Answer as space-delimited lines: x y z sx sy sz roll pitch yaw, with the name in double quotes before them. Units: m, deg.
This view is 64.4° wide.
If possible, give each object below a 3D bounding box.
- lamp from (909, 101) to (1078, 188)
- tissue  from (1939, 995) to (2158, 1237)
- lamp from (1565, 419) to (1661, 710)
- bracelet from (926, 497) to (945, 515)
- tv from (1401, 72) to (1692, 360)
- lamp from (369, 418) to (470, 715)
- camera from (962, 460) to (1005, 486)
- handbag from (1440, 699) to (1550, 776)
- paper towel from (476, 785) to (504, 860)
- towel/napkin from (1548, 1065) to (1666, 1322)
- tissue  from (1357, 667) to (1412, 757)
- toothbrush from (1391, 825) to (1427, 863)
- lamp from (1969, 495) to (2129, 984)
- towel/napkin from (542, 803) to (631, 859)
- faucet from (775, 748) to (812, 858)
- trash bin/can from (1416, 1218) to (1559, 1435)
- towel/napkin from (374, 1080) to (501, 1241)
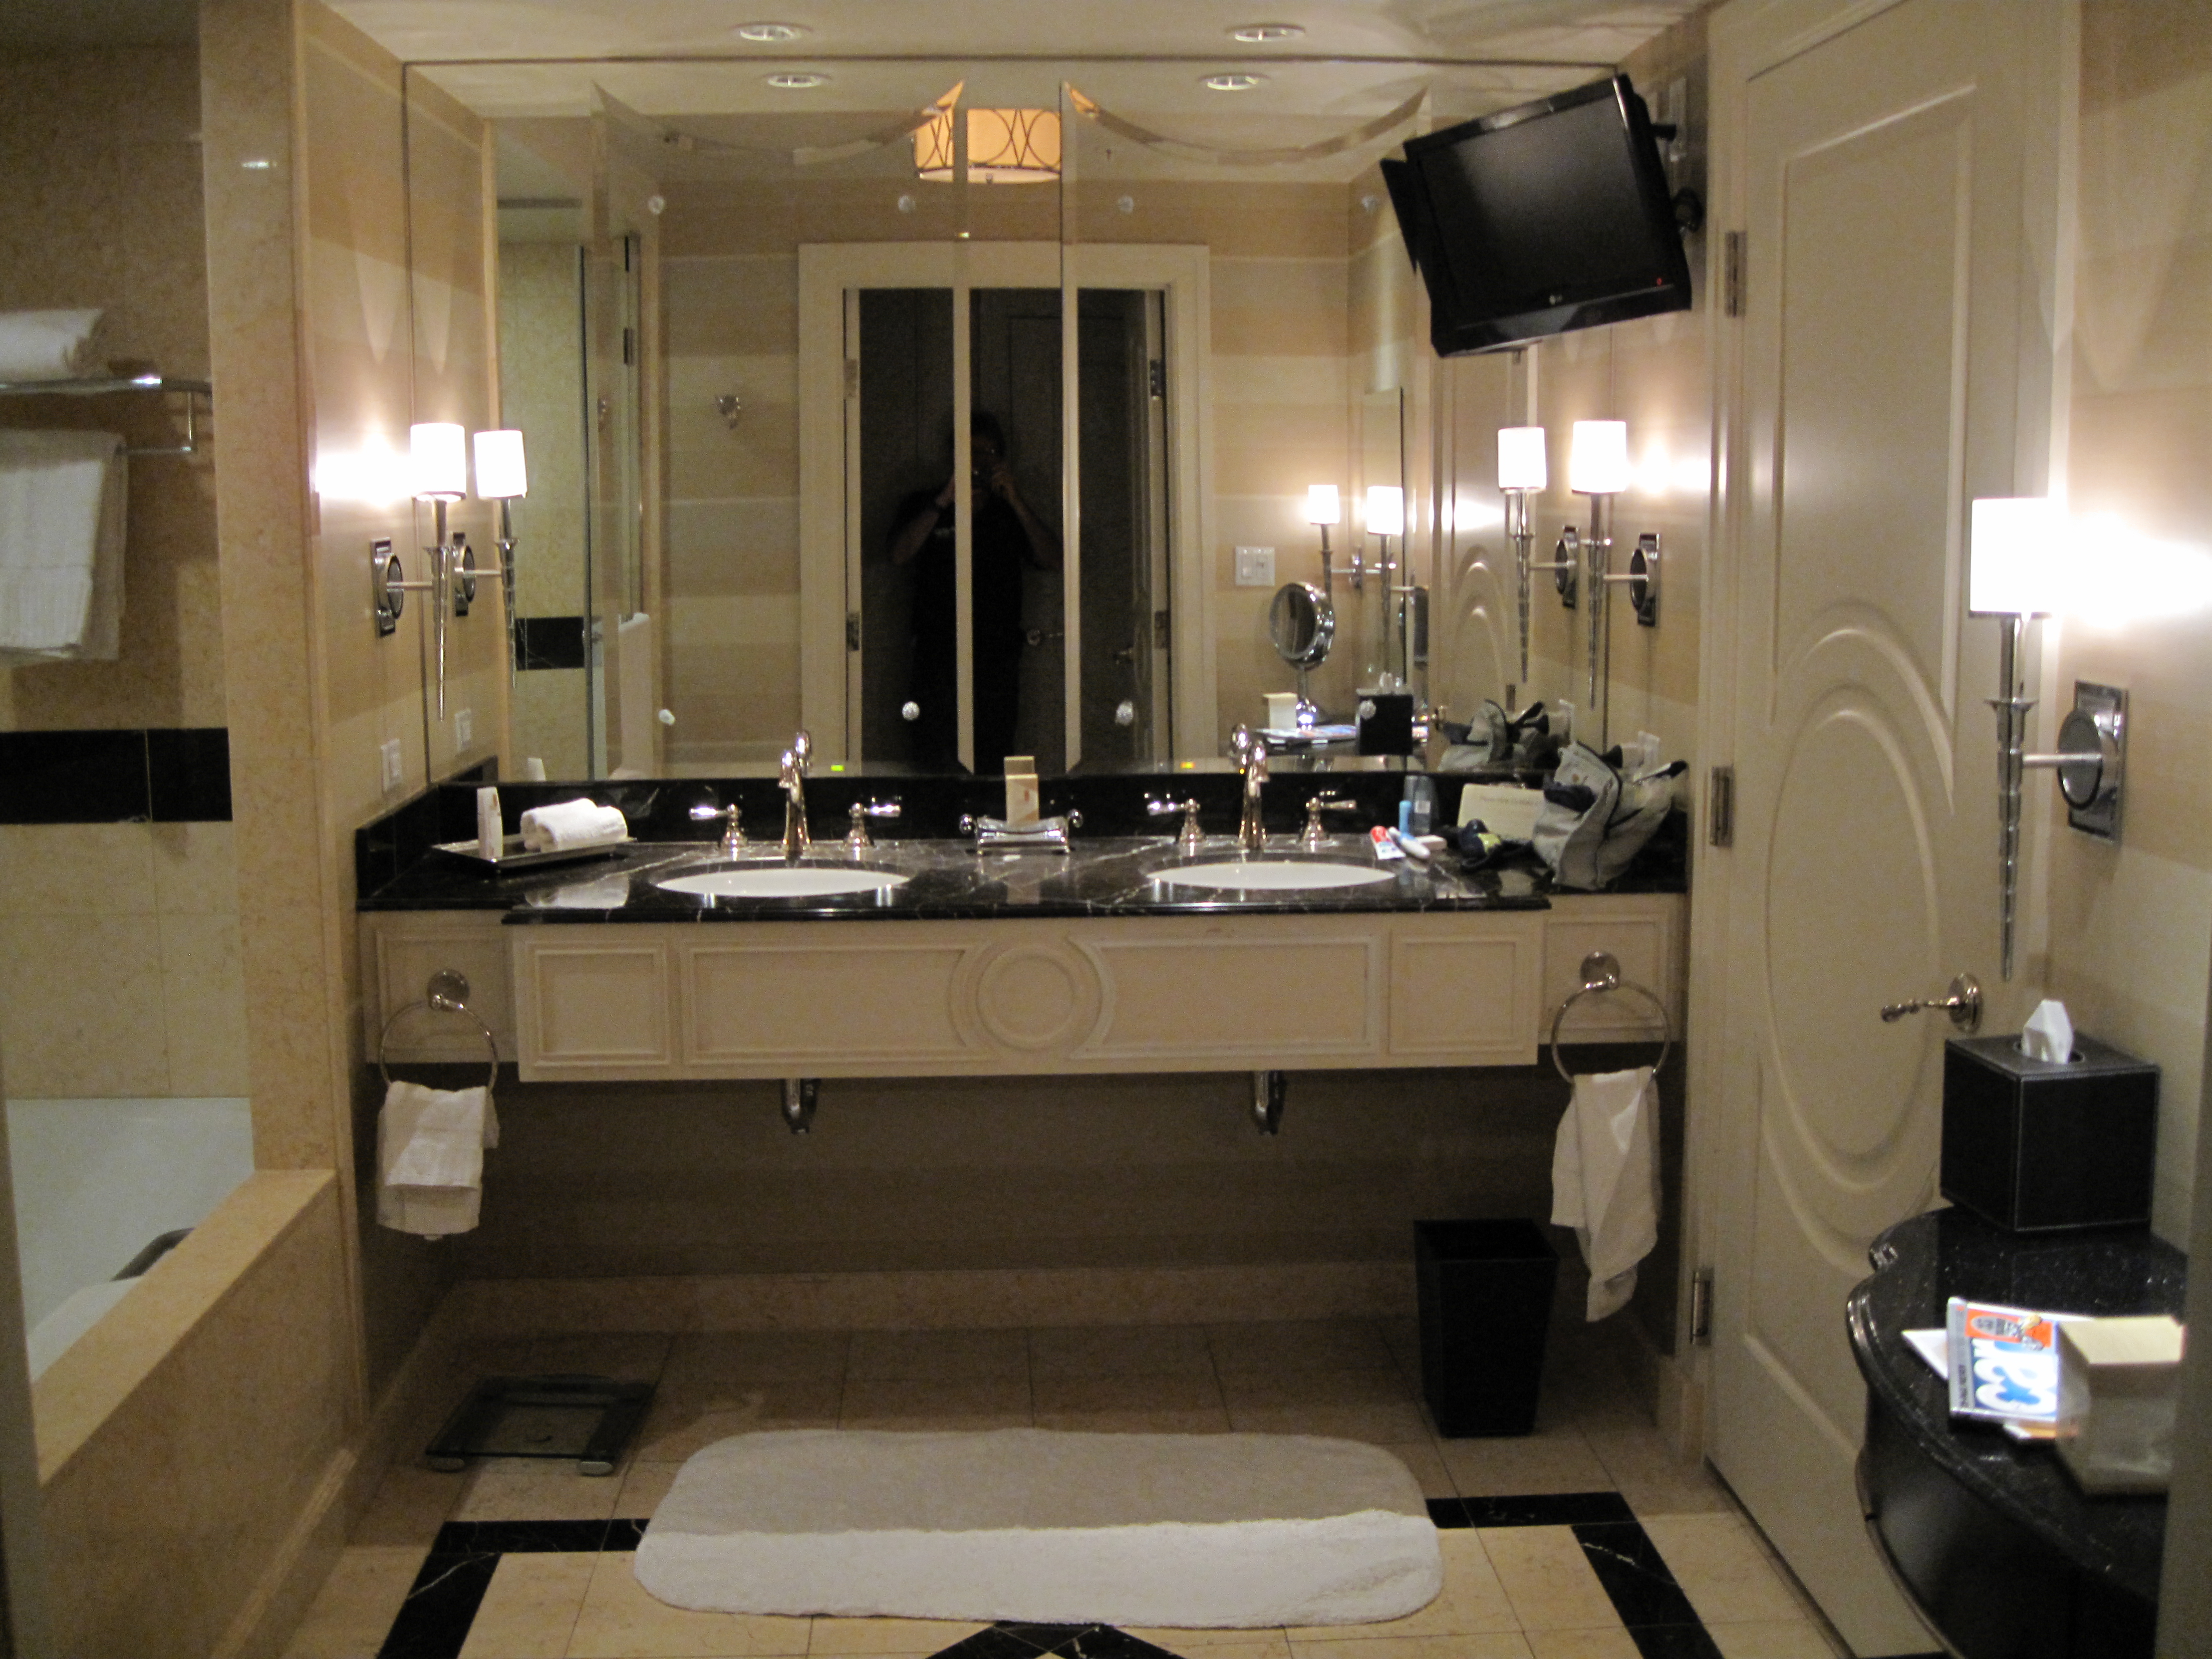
"lamp" -0.273 -1.559 4.016 0.214 0.089 0.217 3 4 40
"tissue " 1.266 0.401 2.456 0.237 0.258 0.242 -1 6 -1
"lamp" 1.084 -0.537 3.844 0.160 0.696 0.265 -2 7 -2
"bracelet" -0.406 -0.756 4.087 0.011 0.042 0.014 34 44 -7
"tv" 0.911 -1.260 3.603 0.219 0.525 0.683 -25 12 -32
"lamp" -1.479 -0.579 3.868 0.165 0.622 0.459 -3 7 -8
"camera" -0.287 -0.826 4.084 0.054 0.053 0.014 4 2 2
"handbag" 0.914 -0.207 4.152 0.219 0.144 0.141 1 7 1
"paper towel" -1.346 -0.007 3.818 0.054 0.149 0.099 -4 8 -20
"towel/napkin" 1.068 0.755 3.709 0.269 0.517 0.113 -4 8 -15
"tissue " 0.653 -0.271 4.158 0.157 0.227 0.154 1 15 2
"toothbrush" 0.688 0.037 3.997 0.035 0.030 0.123 -7 14 0
"lamp" 1.287 -0.119 2.535 0.214 0.707 0.321 -2 7 -1
"towel/napkin" -1.174 -0.005 3.932 0.122 0.051 0.122 -4 19 -34
"faucet" -0.726 -0.069 4.043 0.068 0.258 0.244 -3 7 -10
"trash bin/can" 0.771 1.072 3.989 0.367 0.542 0.414 1 1 1
"towel/napkin" -1.372 0.665 3.566 0.273 0.290 0.120 -1 -3 -6
